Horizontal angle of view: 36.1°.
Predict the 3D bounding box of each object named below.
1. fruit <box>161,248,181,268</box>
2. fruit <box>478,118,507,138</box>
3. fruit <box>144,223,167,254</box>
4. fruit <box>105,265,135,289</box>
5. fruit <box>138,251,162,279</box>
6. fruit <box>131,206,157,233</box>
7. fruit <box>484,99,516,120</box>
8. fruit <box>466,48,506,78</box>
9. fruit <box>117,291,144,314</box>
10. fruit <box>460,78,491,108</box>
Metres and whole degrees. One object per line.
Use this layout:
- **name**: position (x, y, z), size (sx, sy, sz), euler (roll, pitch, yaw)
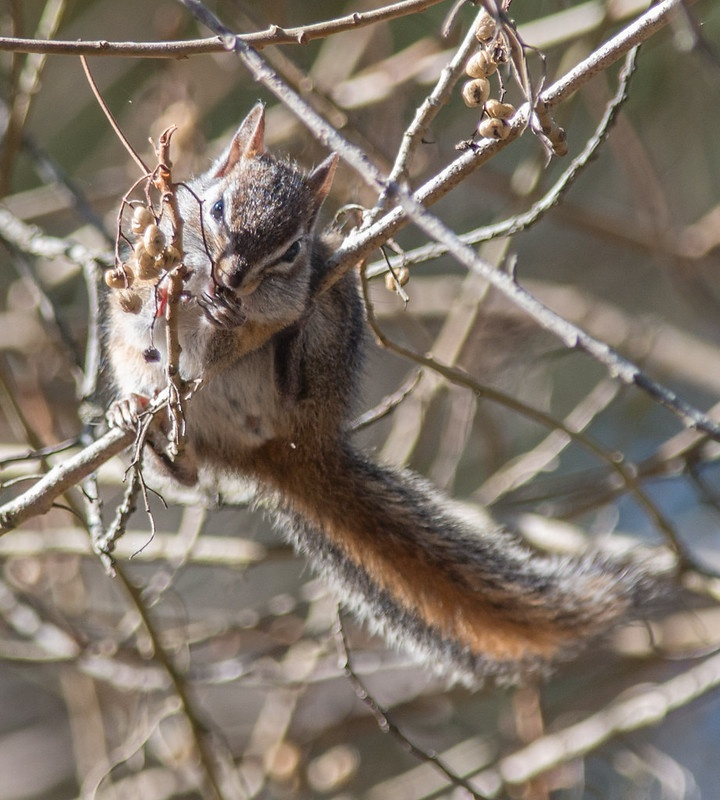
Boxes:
- **fruit**: position (-0.520, -0.401, 3.062), size (0.055, 0.055, 0.033), euler (-8, 18, -19)
- **fruit**: position (0.393, -0.795, 3.222), size (0.069, 0.062, 0.036), euler (20, 21, -8)
- **fruit**: position (-0.563, -0.454, 3.058), size (0.048, 0.073, 0.061), euler (-3, 2, 1)
- **fruit**: position (-0.702, -0.360, 3.199), size (0.079, 0.076, 0.042), euler (-4, -35, 1)
- **fruit**: position (-0.600, -0.385, 3.111), size (0.068, 0.069, 0.029), euler (-9, 23, -12)
- **fruit**: position (-0.613, -0.512, 3.120), size (0.051, 0.077, 0.065), euler (7, 23, 43)
- **fruit**: position (0.407, -0.856, 3.265), size (0.081, 0.031, 0.079), euler (21, -6, -43)
- **fruit**: position (0.365, -1.000, 3.249), size (0.095, 0.069, 0.054), euler (-8, 3, 36)
- **fruit**: position (-0.701, -0.289, 3.347), size (0.030, 0.074, 0.061), euler (-24, 6, 44)
- **fruit**: position (0.344, -0.934, 3.327), size (0.077, 0.096, 0.056), euler (-27, -51, 17)
